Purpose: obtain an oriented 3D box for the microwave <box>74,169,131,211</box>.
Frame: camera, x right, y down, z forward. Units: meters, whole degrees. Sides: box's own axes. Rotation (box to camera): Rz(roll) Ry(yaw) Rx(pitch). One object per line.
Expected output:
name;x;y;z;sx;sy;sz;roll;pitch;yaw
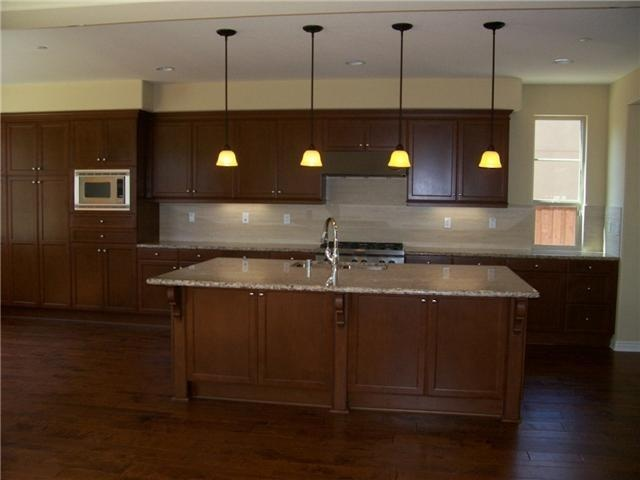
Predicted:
microwave;-2.778;-0.666;7.374;0.738;0.438;0.396;1;6;8
